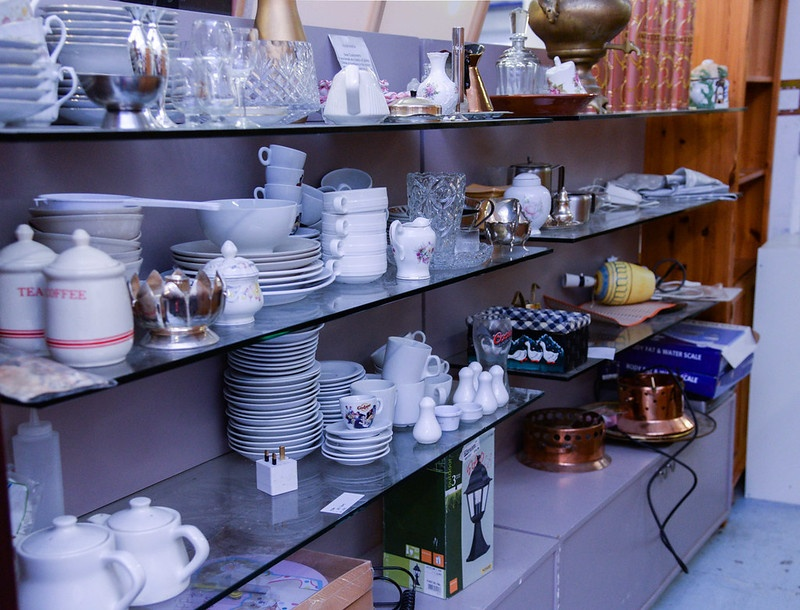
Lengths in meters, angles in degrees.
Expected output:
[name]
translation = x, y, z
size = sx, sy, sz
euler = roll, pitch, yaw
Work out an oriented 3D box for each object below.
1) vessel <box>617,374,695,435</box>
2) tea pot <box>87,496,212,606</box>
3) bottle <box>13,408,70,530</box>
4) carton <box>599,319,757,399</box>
[vessel]
translation = 1.025, 0.401, 2.570
size = 0.317, 0.203, 0.342
euler = -3, 2, 15
[tea pot]
translation = -0.370, 0.365, 0.985
size = 0.178, 0.133, 0.124
euler = 8, 7, 12
[bottle]
translation = -0.562, 0.260, 0.977
size = 0.067, 0.178, 0.097
euler = -10, 17, -31
[carton]
translation = 1.317, 0.215, 2.920
size = 0.661, 0.203, 0.666
euler = -6, 14, -9
